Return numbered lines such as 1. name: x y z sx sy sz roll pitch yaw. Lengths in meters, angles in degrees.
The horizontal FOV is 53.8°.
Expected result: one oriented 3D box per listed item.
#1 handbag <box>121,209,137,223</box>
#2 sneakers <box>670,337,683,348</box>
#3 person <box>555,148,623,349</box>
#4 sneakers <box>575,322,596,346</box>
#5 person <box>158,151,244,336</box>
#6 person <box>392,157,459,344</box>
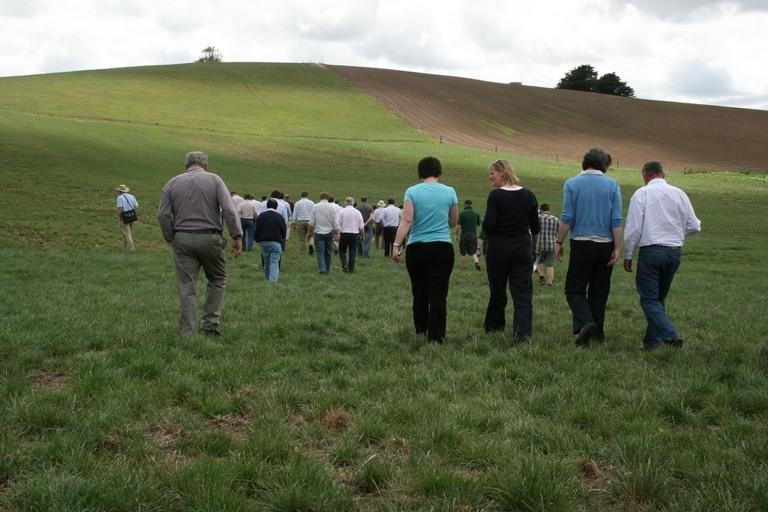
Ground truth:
1. handbag: -8.219 -1.258 24.644 0.511 0.460 0.369 -17 23 -41
2. sneakers: 5.248 1.561 13.633 0.239 0.160 0.163 5 9 8
3. person: 3.920 -0.134 14.587 1.067 4.001 1.093 3 -6 -11
4. sneakers: 3.680 1.461 13.961 0.207 0.565 0.200 9 27 -16
5. person: -3.460 -0.224 14.260 1.436 3.364 0.940 0 8 -18
6. person: 0.815 -0.140 14.234 1.009 3.397 0.814 4 8 9
